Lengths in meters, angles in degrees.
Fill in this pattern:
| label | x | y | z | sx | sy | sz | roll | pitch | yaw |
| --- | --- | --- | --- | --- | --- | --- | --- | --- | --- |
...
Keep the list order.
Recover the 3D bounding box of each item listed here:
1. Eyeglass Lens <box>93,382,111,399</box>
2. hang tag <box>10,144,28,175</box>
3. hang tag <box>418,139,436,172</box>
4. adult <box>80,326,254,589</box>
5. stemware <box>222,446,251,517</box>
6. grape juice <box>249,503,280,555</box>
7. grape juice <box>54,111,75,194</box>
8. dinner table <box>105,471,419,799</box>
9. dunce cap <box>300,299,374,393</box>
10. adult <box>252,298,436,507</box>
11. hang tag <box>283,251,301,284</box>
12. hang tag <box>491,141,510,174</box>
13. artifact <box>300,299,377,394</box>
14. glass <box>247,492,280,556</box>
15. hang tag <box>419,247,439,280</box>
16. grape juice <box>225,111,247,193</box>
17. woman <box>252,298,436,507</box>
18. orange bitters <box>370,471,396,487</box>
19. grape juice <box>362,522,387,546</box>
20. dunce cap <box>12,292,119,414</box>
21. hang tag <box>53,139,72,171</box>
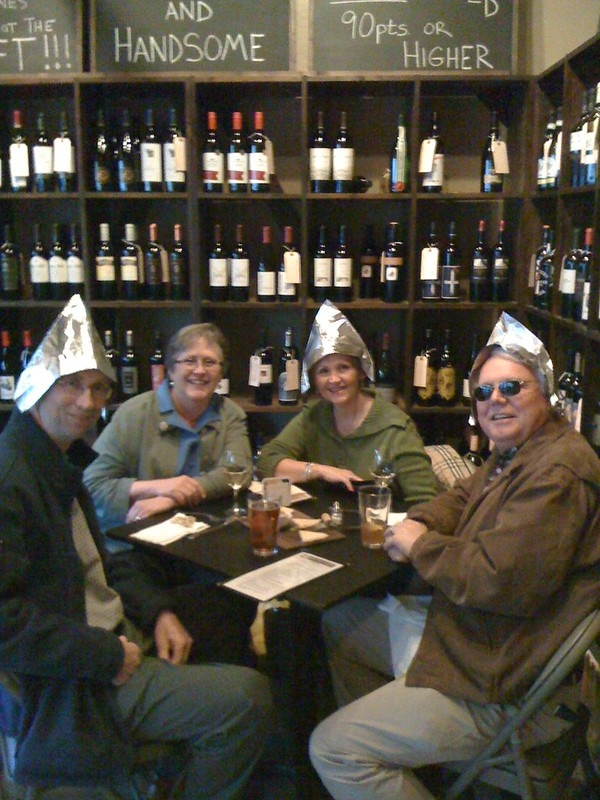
| label | x | y | z | sx | sy | sz | roll | pitch | yaw |
| --- | --- | --- | --- | --- | --- | --- | --- | --- | --- |
| Eyeglass Lens | -0.429 | -0.019 | 1.459 | 0.025 | 0.015 | 0.033 | 0 | 35 | -13 |
| hang tag | -1.300 | -1.110 | 3.149 | 0.068 | 0.138 | 0.077 | -6 | 12 | -30 |
| hang tag | 0.578 | -1.103 | 3.084 | 0.078 | 0.142 | 0.134 | 1 | 10 | 10 |
| adult | -0.377 | 0.193 | 2.124 | 0.458 | 0.839 | 0.536 | 6 | 4 | 18 |
| stemware | -0.170 | 0.218 | 1.806 | 0.073 | 0.167 | 0.063 | -1 | 14 | -12 |
| grape juice | -0.081 | 0.286 | 1.521 | 0.077 | 0.109 | 0.073 | 0 | -2 | -2 |
| grape juice | -1.103 | -1.163 | 3.178 | 0.112 | 0.366 | 0.091 | -1 | 11 | -12 |
| dinner table | -0.069 | 0.580 | 1.613 | 0.637 | 0.613 | 0.623 | -7 | 17 | -11 |
| dunce cap | 0.109 | -0.183 | 2.200 | 0.268 | 0.344 | 0.280 | -3 | 9 | 3 |
| adult | 0.170 | -0.005 | 2.560 | 0.633 | 0.813 | 0.473 | -9 | 12 | 9 |
| hang tag | -0.028 | -0.622 | 3.213 | 0.073 | 0.150 | 0.169 | 1 | 10 | 9 |
| hang tag | 0.916 | -1.116 | 3.134 | 0.074 | 0.147 | 0.146 | 2 | 10 | 15 |
| artifact | 0.112 | -0.174 | 2.170 | 0.182 | 0.233 | 0.186 | 6 | 42 | 26 |
| glass | -0.081 | 0.287 | 1.521 | 0.101 | 0.104 | 0.098 | 0 | 3 | -22 |
| hang tag | 0.595 | -0.628 | 3.143 | 0.069 | 0.149 | 0.066 | 2 | 10 | 14 |
| grape juice | -0.290 | -1.147 | 3.146 | 0.097 | 0.338 | 0.086 | -1 | 17 | -7 |
| woman | 0.170 | -0.005 | 2.560 | 0.633 | 0.813 | 0.473 | -9 | 12 | 9 |
| orange bitters | 0.234 | 0.215 | 1.855 | 0.059 | 0.043 | 0.065 | 1 | 9 | 1 |
| grape juice | 0.173 | 0.309 | 1.571 | 0.055 | 0.050 | 0.054 | 1 | -2 | 2 |
| dunce cap | -0.483 | -0.088 | 1.390 | 0.235 | 0.237 | 0.202 | -5 | -2 | 28 |
| hang tag | -1.091 | -1.124 | 3.127 | 0.078 | 0.149 | 0.063 | -3 | 10 | -13 |
